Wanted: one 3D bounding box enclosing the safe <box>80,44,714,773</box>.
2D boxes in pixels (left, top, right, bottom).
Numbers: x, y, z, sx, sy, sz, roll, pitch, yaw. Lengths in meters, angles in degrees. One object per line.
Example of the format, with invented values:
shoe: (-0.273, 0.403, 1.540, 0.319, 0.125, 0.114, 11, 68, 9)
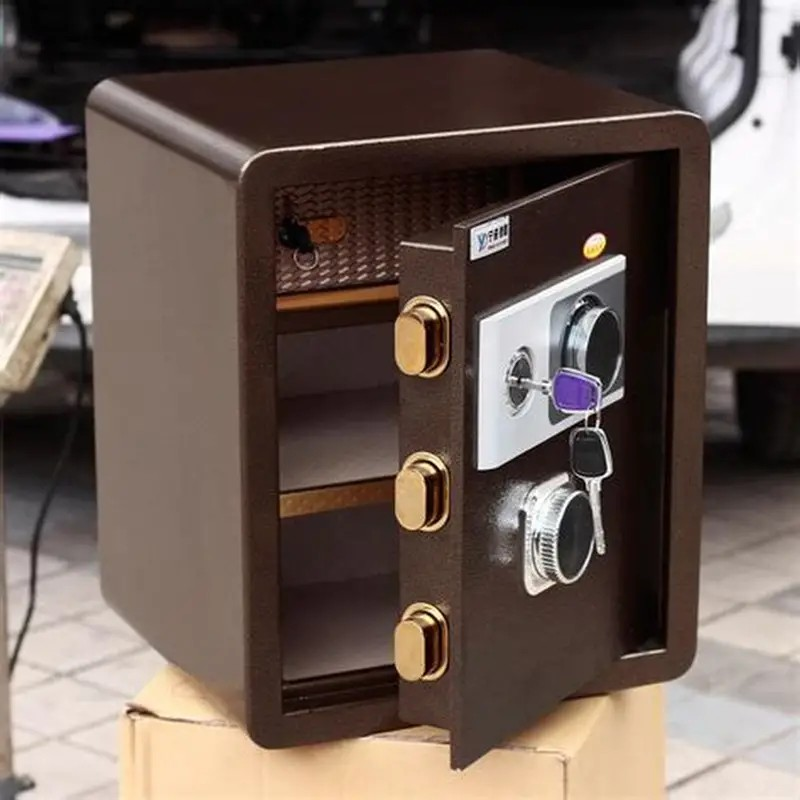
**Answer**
safe: (0.015, 0.063, 1.003, 0.507, 0.428, 0.587, -3, 4, -19)
